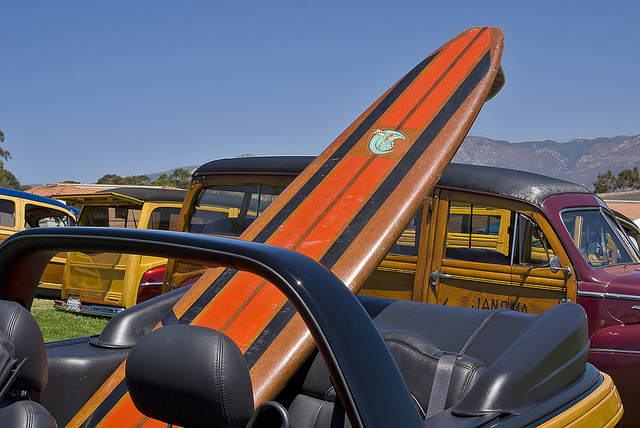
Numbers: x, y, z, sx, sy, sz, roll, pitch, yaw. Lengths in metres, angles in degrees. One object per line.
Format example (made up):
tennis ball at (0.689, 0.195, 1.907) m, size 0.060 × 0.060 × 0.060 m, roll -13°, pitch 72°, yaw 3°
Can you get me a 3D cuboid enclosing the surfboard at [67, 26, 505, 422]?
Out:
surfboard at (1.178, -0.536, 4.986) m, size 1.424 × 7.406 × 0.640 m, roll 14°, pitch -45°, yaw 38°
